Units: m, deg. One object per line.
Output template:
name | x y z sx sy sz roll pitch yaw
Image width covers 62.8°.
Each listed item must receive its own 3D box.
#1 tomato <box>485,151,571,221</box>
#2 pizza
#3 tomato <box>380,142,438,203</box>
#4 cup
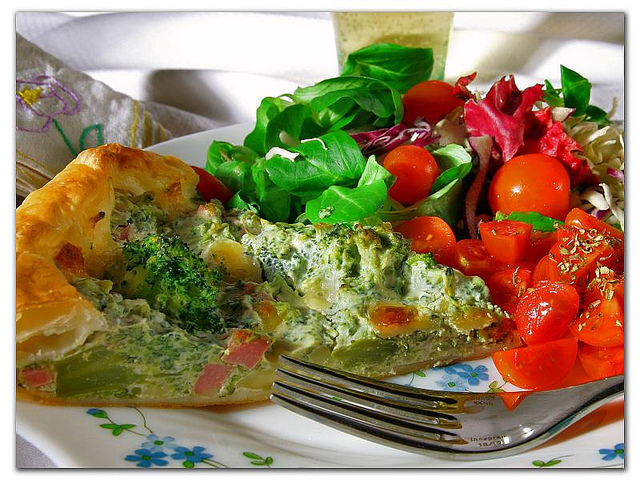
tomato | 0.707 -0.162 1.904 0.283 0.229 0.244 6 -11 -4
pizza | -0.173 0.196 1.415 1.165 0.294 0.740 11 34 9
tomato | 0.320 -0.240 1.888 0.246 0.199 0.216 1 -8 -17
cup | 0.387 -1.035 2.738 0.570 0.356 0.470 4 18 17
